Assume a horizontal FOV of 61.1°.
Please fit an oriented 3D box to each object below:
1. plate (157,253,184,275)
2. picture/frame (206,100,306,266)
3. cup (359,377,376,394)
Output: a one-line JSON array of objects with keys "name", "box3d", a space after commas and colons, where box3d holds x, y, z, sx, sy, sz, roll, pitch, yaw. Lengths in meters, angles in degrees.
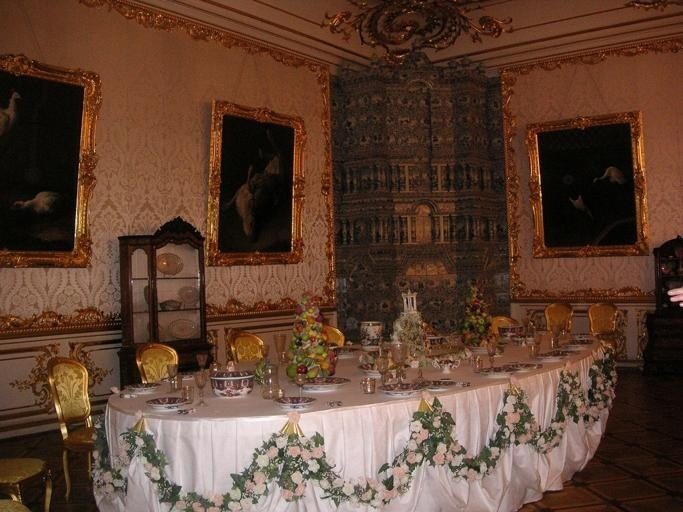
[{"name": "plate", "box3d": [-2.090, 0.096, 6.978, 0.228, 0.169, 0.240, -2, -4, 3]}, {"name": "picture/frame", "box3d": [-1.290, -1.039, 8.223, 0.204, 3.022, 2.266, -2, -3, 39]}, {"name": "cup", "box3d": [0.173, 0.874, 3.905, 0.094, 0.079, 0.081, -3, -2, 26]}]
